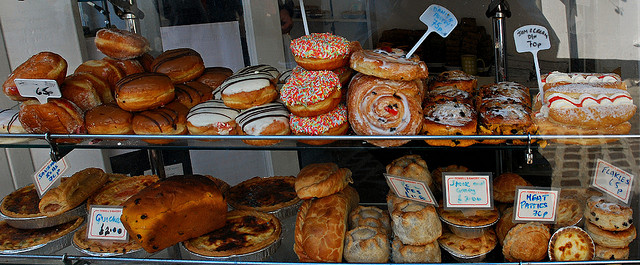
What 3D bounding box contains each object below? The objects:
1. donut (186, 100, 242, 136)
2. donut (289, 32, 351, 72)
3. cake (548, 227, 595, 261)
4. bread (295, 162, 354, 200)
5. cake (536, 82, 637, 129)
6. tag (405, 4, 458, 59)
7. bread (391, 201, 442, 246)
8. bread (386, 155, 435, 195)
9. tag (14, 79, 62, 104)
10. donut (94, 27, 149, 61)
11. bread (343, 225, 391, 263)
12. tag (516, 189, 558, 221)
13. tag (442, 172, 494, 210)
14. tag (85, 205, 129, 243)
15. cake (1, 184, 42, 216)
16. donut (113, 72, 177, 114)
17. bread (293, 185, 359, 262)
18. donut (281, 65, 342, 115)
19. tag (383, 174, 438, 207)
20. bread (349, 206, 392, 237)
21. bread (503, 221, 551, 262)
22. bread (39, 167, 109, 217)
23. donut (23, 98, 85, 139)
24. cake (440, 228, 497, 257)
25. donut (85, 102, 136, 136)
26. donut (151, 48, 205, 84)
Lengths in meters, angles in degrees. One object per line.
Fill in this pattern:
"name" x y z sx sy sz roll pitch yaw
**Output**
"donut" -0.860 -0.148 3.363 0.482 0.187 0.410 -5 30 12
"donut" 0.010 -0.627 3.157 0.406 0.154 0.342 -1 14 -3
"cake" 2.000 0.900 3.242 0.331 0.242 0.094 -4 -2 5
"bread" 0.009 0.352 3.542 0.553 0.147 0.374 -13 36 -30
"cake" 2.053 -0.203 3.128 0.571 0.141 0.398 2 31 11
"tag" 0.866 -0.811 3.261 0.484 0.237 0.066 -41 -12 1
"bread" 0.837 0.752 3.410 0.490 0.230 0.394 -10 -2 -11
"bread" 0.724 0.322 3.513 0.345 0.325 0.343 -39 2 -10
"tag" -2.204 -0.312 3.217 0.407 0.218 0.035 3 28 13
"donut" -1.745 -0.802 3.589 0.447 0.175 0.442 -3 26 -44
"bread" 0.372 0.895 3.324 0.354 0.154 0.321 4 11 22
"tag" 1.724 0.579 3.232 0.039 0.285 0.373 22 -17 -24
"tag" 1.164 0.463 3.211 0.019 0.299 0.435 16 -17 -37
"tag" -1.807 0.757 3.463 0.440 0.304 0.100 -2 -10 3
"cake" -2.667 0.616 3.612 0.281 0.218 0.359 -8 9 -34
"donut" -1.494 -0.367 3.422 0.492 0.198 0.494 15 27 25
"bread" 0.042 0.757 3.416 0.437 0.518 0.413 -1 8 15
"donut" -0.071 -0.305 3.158 0.407 0.322 0.160 -1 9 19
"tag" 0.725 0.464 3.285 0.461 0.010 0.247 15 37 -34
"bread" 0.429 0.731 3.489 0.364 0.110 0.352 -7 13 -41
"bread" 1.659 0.873 3.243 0.381 0.302 0.108 -4 8 -7
"bread" -2.266 0.482 3.726 0.386 0.165 0.577 -1 24 19
"donut" -2.136 -0.127 3.251 0.446 0.284 0.087 -2 8 6
"cake" 1.200 0.896 3.299 0.305 0.054 0.260 4 18 16
"donut" -1.756 -0.091 3.389 0.404 0.155 0.367 -9 16 -29
"donut" -1.203 -0.589 3.512 0.403 0.161 0.345 0 15 7
